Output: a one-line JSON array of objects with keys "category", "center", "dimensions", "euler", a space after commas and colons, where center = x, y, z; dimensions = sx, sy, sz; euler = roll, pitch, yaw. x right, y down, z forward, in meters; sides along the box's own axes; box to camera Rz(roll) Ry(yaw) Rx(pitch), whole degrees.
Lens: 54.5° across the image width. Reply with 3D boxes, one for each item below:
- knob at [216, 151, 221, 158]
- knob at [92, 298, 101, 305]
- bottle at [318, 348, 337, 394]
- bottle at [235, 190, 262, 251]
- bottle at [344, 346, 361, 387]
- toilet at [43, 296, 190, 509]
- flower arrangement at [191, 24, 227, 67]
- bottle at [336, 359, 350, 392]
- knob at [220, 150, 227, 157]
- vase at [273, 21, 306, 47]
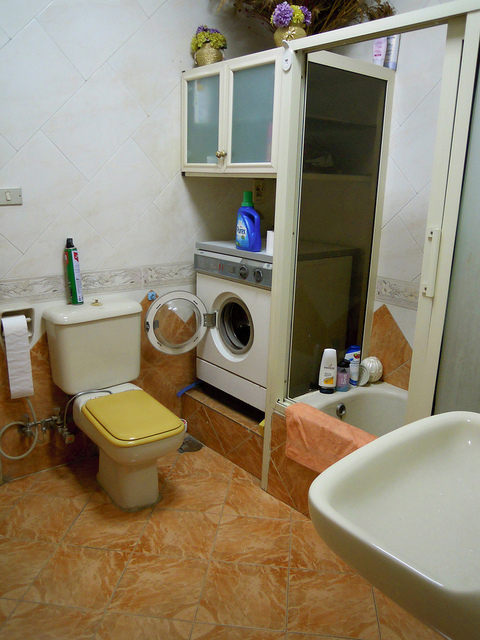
[{"category": "knob", "center": [-0.098, -0.736, 2.067], "dimensions": [0.006, 0.021, 0.019], "euler": [-8, 13, -27]}, {"category": "knob", "center": [-0.646, -0.081, 2.079], "dimensions": [0.035, 0.042, 0.040], "euler": [-1, 7, -11]}, {"category": "bottle", "center": [0.376, 0.222, 1.980], "dimensions": [0.068, 0.201, 0.051], "euler": [2, 10, 6]}, {"category": "bottle", "center": [0.037, -0.457, 2.156], "dimensions": [0.115, 0.264, 0.156], "euler": [1, 11, -2]}, {"category": "bottle", "center": [0.501, 0.213, 2.091], "dimensions": [0.079, 0.190, 0.083], "euler": [2, 4, 0]}, {"category": "toilet", "center": [-0.511, 0.358, 1.962], "dimensions": [0.376, 0.769, 0.623], "euler": [-11, 20, -40]}, {"category": "flower arrangement", "center": [-0.149, -1.278, 2.184], "dimensions": [0.144, 0.183, 0.158], "euler": [3, 22, 2]}, {"category": "bottle", "center": [0.454, 0.252, 2.032], "dimensions": [0.061, 0.129, 0.042], "euler": [0, 11, -9]}, {"category": "knob", "center": [-0.076, -0.732, 2.050], "dimensions": [0.025, 0.027, 0.016], "euler": [1, 11, -4]}, {"category": "vase", "center": [0.204, -1.158, 1.892], "dimensions": [0.125, 0.084, 0.092], "euler": [3, 11, 6]}]
